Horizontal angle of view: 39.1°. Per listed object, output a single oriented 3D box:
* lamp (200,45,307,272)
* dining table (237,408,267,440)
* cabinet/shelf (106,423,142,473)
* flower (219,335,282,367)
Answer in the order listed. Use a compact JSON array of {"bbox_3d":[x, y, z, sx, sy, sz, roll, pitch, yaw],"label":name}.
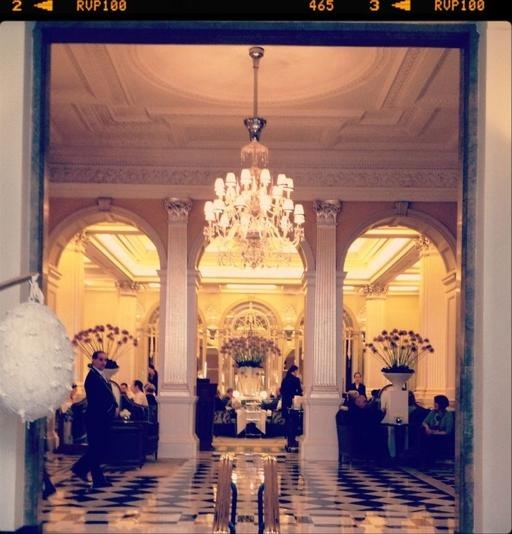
[{"bbox_3d":[-0.005,-1.563,9.425,0.875,2.426,0.983,-1,4,-4],"label":"lamp"},{"bbox_3d":[-0.112,3.477,16.295,0.544,0.608,0.622,0,-2,4],"label":"dining table"},{"bbox_3d":[-1.934,2.624,10.722,0.429,0.720,0.911,0,-8,-3],"label":"cabinet/shelf"},{"bbox_3d":[-0.060,1.909,16.267,0.823,0.582,0.869,0,-3,-21],"label":"flower"}]
